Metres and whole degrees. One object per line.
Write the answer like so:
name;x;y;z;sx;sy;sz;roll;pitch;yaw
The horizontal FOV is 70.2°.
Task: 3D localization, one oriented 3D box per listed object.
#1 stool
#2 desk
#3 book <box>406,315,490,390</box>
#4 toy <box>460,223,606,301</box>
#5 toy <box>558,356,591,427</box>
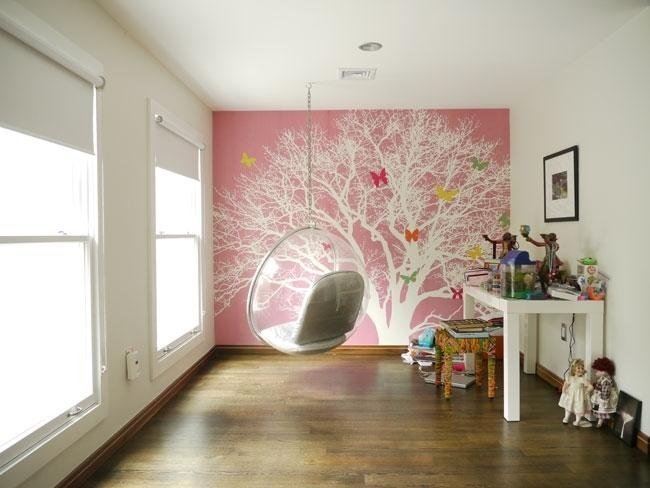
stool;1.203;1.014;3.987;0.460;0.517;0.442;1;-2;-6
desk;1.714;0.676;3.954;0.772;0.995;1.539;-1;0;-1
book;1.067;0.954;4.121;0.625;0.750;0.574;0;-7;-3
toy;1.699;0.227;3.967;1.011;0.829;0.339;0;-4;12
toy;1.883;1.109;3.454;0.195;0.455;0.205;6;10;41
